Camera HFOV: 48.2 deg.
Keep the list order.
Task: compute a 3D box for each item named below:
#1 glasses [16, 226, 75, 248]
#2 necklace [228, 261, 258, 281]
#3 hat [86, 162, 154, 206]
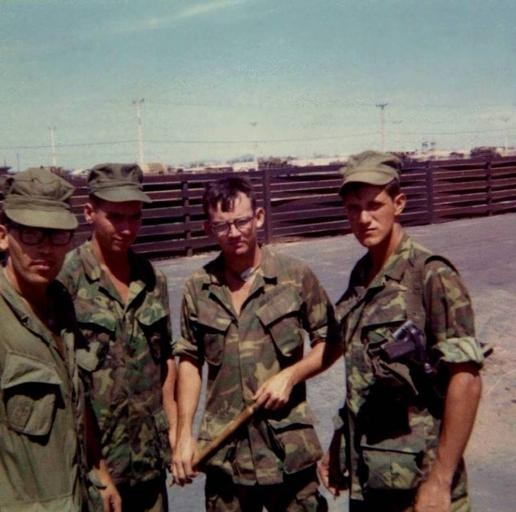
[{"bbox_3d":[-0.787,-0.076,2.141,0.218,0.091,0.116,-11,13,-31],"label":"glasses"},{"bbox_3d":[-0.065,0.079,2.856,0.075,0.049,0.098,-19,3,5],"label":"necklace"},{"bbox_3d":[-0.703,-0.367,2.933,0.265,0.159,0.332,-4,10,-34],"label":"hat"}]
